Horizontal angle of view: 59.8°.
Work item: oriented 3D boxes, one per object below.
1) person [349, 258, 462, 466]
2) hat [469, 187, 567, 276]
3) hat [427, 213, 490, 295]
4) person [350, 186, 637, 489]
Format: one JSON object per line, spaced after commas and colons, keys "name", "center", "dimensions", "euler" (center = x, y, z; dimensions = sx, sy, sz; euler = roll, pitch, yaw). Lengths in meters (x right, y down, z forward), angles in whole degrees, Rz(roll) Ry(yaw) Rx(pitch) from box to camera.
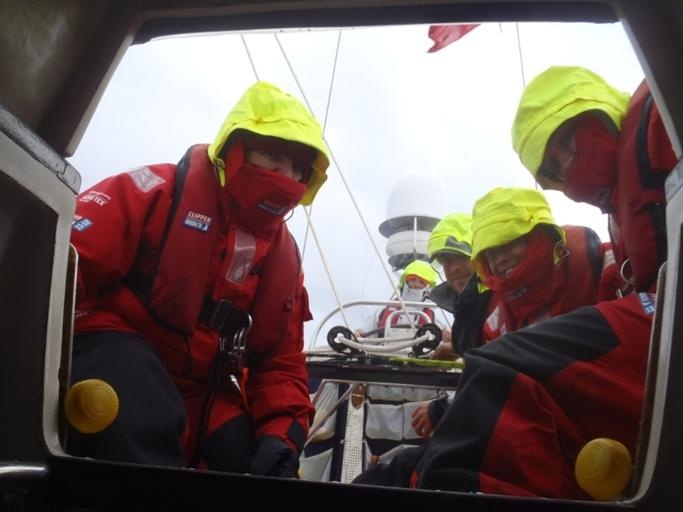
{"name": "person", "center": [0.608, 0.964, 5.886], "dimensions": [0.920, 1.048, 1.645], "euler": [0, 18, 5]}
{"name": "hat", "center": [0.863, -0.174, 2.902], "dimensions": [0.355, 0.302, 0.355], "euler": [10, -10, -28]}
{"name": "hat", "center": [0.808, -0.045, 4.394], "dimensions": [0.434, 0.567, 0.385], "euler": [31, -44, -31]}
{"name": "person", "center": [0.855, 0.369, 2.735], "dimensions": [0.682, 1.384, 1.087], "euler": [8, -24, -41]}
